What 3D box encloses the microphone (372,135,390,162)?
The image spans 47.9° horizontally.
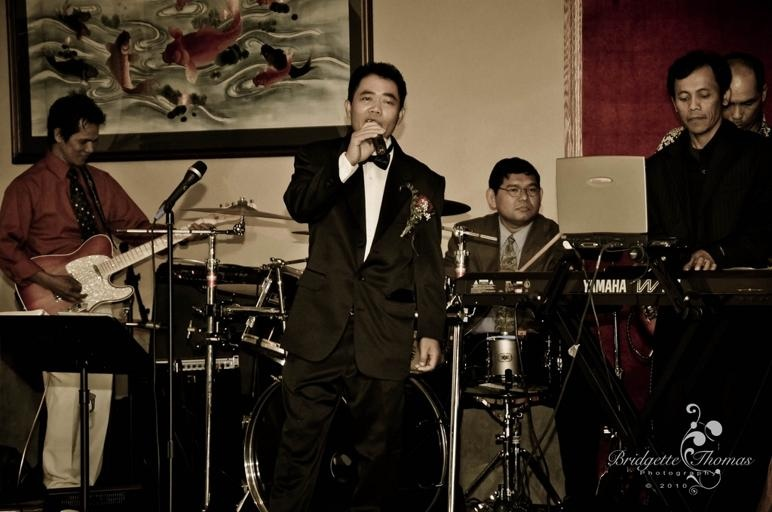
[{"bbox_3d":[-0.030,-0.551,4.453,0.077,0.122,0.032,-12,41,1],"label":"microphone"}]

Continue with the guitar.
[{"bbox_3d":[-1.783,0.051,5.854,1.363,0.547,0.166,-23,-8,-10],"label":"guitar"}]

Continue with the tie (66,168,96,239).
[{"bbox_3d":[-2.076,-0.353,5.943,0.193,0.490,0.074,-10,-10,-42],"label":"tie"}]

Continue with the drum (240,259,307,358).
[{"bbox_3d":[-0.693,0.324,5.444,0.399,0.656,0.220,19,4,34],"label":"drum"}]

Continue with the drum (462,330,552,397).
[{"bbox_3d":[0.719,0.622,5.096,0.590,0.342,0.379,2,-5,5],"label":"drum"}]

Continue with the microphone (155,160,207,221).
[{"bbox_3d":[-1.387,-0.457,5.843,0.569,0.143,0.149,-44,27,-11],"label":"microphone"}]

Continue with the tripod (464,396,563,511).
[{"bbox_3d":[0.795,1.166,5.421,0.609,0.645,0.588,-3,11,14],"label":"tripod"}]

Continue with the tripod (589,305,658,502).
[{"bbox_3d":[1.545,0.826,5.453,0.632,1.296,0.318,1,-4,-13],"label":"tripod"}]
